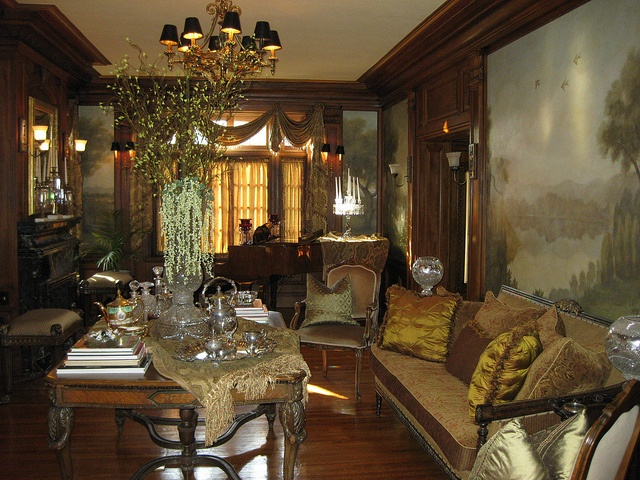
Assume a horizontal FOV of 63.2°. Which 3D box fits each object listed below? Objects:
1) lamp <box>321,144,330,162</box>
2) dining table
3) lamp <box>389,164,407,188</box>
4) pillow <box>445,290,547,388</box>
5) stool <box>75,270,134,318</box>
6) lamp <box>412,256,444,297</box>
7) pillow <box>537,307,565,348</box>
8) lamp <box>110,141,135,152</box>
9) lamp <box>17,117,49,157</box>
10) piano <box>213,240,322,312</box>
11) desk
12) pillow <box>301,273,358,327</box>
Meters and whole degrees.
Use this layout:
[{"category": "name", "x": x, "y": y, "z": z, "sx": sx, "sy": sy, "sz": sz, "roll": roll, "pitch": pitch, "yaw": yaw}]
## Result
[{"category": "lamp", "x": 0.082, "y": -1.498, "z": 8.961, "sx": 0.141, "sy": 0.312, "sz": 0.179, "roll": 0, "pitch": 2, "yaw": 0}, {"category": "dining table", "x": -0.887, "y": 1.209, "z": 3.564, "sx": 1.627, "sy": 1.121, "sz": 0.897, "roll": 0, "pitch": 2, "yaw": 0}, {"category": "lamp", "x": 1.194, "y": -0.991, "z": 8.087, "sx": 0.357, "sy": 0.401, "sz": 0.238, "roll": -1, "pitch": -2, "yaw": -27}, {"category": "pillow", "x": 1.363, "y": 0.816, "z": 4.072, "sx": 0.173, "sy": 0.625, "sz": 0.605, "roll": 25, "pitch": 1, "yaw": -6}, {"category": "stool", "x": -2.696, "y": 0.655, "z": 6.403, "sx": 0.288, "sy": 0.385, "sz": 0.734, "roll": 0, "pitch": 3, "yaw": -4}, {"category": "lamp", "x": 0.980, "y": 0.351, "z": 5.063, "sx": 0.308, "sy": 0.476, "sz": 0.323, "roll": 2, "pitch": -2, "yaw": 0}, {"category": "pillow", "x": 1.582, "y": 0.597, "z": 3.568, "sx": 0.071, "sy": 0.247, "sz": 0.243, "roll": -3, "pitch": 13, "yaw": 35}, {"category": "lamp", "x": -3.299, "y": -1.565, "z": 8.633, "sx": 0.367, "sy": 0.182, "sz": 0.338, "roll": -1, "pitch": 2, "yaw": -21}, {"category": "lamp", "x": -3.474, "y": -1.242, "z": 6.240, "sx": 0.322, "sy": 0.461, "sz": 0.307, "roll": 1, "pitch": 5, "yaw": 2}, {"category": "piano", "x": -0.638, "y": 0.544, "z": 7.371, "sx": 0.850, "sy": 0.920, "sz": 1.292, "roll": 1, "pitch": -3, "yaw": 3}, {"category": "desk", "x": 0.543, "y": 0.304, "z": 7.952, "sx": 0.713, "sy": 0.591, "sz": 0.752, "roll": 1, "pitch": -3, "yaw": -6}, {"category": "pillow", "x": 0.118, "y": 0.669, "z": 5.734, "sx": 0.680, "sy": 0.696, "sz": 0.342, "roll": 1, "pitch": -28, "yaw": 2}]
